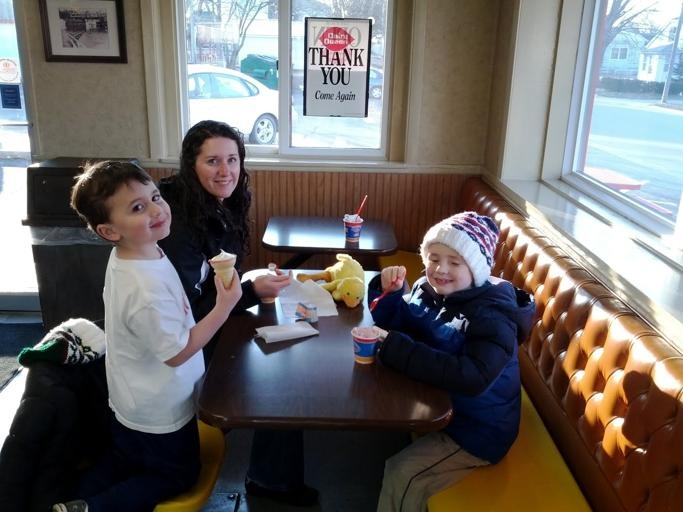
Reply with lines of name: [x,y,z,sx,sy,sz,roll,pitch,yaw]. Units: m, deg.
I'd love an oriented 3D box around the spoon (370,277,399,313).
spoon: [0.191,0.181,2.230,0.037,0.156,0.150,39,-4,12]

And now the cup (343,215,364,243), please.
cup: [0.063,-0.176,3.307,0.149,0.171,0.158,1,11,0]

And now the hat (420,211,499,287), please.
hat: [0.533,-0.044,2.075,0.197,0.205,0.253,31,10,36]

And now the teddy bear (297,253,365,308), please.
teddy bear: [-0.010,0.152,2.371,0.252,0.106,0.252,11,6,-29]

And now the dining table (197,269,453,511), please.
dining table: [-0.122,0.606,2.044,0.741,0.579,0.712,3,33,-1]

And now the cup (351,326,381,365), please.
cup: [0.087,0.320,1.842,0.114,0.103,0.125,3,6,0]
